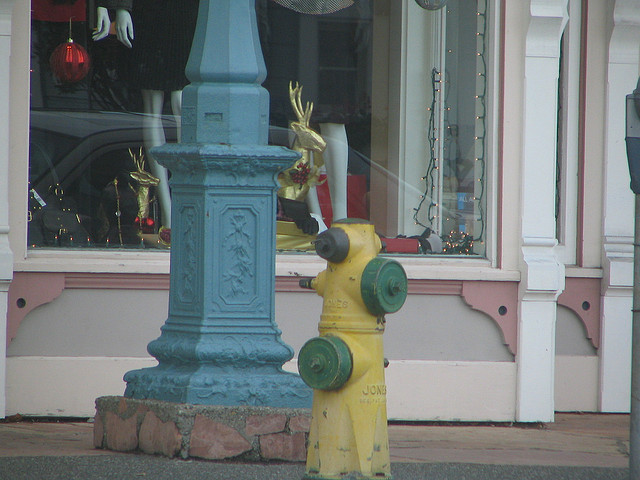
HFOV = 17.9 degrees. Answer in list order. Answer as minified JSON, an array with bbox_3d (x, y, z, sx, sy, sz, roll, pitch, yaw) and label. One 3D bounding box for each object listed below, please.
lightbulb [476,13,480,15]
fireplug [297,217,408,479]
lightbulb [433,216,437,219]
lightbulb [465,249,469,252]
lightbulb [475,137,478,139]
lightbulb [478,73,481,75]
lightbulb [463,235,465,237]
[{"bbox_3d":[1.500,-2.105,19.201,0.022,0.011,0.032,2,-3,-1],"label":"lightbulb"},{"bbox_3d":[0.219,0.837,16.283,0.878,1.985,0.897,1,5,-24],"label":"fireplug"},{"bbox_3d":[1.096,-0.199,19.252,0.018,0.020,0.035,7,3,-11],"label":"lightbulb"},{"bbox_3d":[1.388,0.111,19.117,0.027,0.019,0.013,20,-4,12],"label":"lightbulb"},{"bbox_3d":[1.485,-0.940,19.182,0.017,0.019,0.019,1,6,-1],"label":"lightbulb"},{"bbox_3d":[1.512,-1.540,19.198,0.015,0.017,0.009,13,6,2],"label":"lightbulb"},{"bbox_3d":[1.363,-0.022,19.150,0.016,0.017,0.017,3,2,29],"label":"lightbulb"}]
